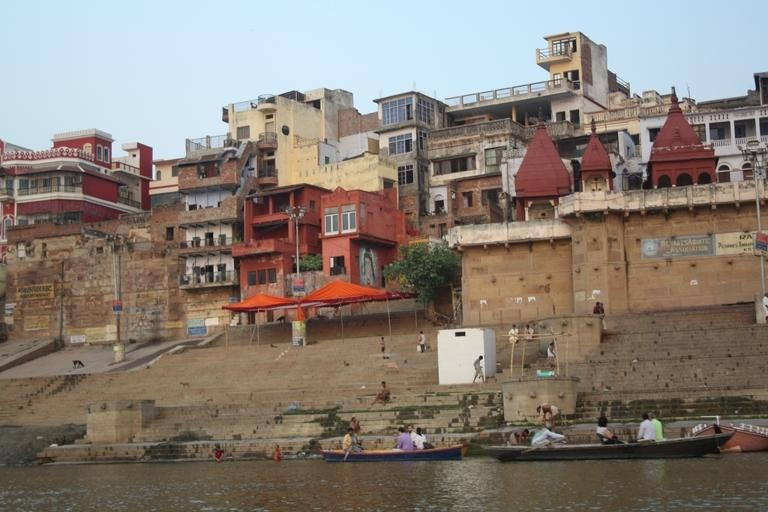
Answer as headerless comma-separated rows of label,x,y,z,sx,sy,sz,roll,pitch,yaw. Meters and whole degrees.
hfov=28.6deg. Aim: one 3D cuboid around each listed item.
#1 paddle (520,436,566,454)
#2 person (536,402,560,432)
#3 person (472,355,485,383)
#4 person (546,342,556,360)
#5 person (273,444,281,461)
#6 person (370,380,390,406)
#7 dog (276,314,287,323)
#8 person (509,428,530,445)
paddle,7.378,8.884,69.560,2.479,0.700,0.709,-7,11,-6
person,7.989,7.710,72.543,0.967,1.259,1.314,-1,-8,-9
person,4.797,5.771,77.178,0.638,1.358,0.192,-3,-8,2
person,8.716,4.992,78.357,0.425,1.089,1.092,-3,-8,6
person,-5.249,9.610,73.414,0.452,0.804,0.728,-2,-8,-4
person,0.018,7.123,77.086,1.031,1.341,1.022,-7,-22,21
dog,-6.748,4.161,99.876,0.397,0.477,1.097,3,-9,-32
person,6.353,8.585,70.683,0.908,0.304,0.652,-6,6,-43
